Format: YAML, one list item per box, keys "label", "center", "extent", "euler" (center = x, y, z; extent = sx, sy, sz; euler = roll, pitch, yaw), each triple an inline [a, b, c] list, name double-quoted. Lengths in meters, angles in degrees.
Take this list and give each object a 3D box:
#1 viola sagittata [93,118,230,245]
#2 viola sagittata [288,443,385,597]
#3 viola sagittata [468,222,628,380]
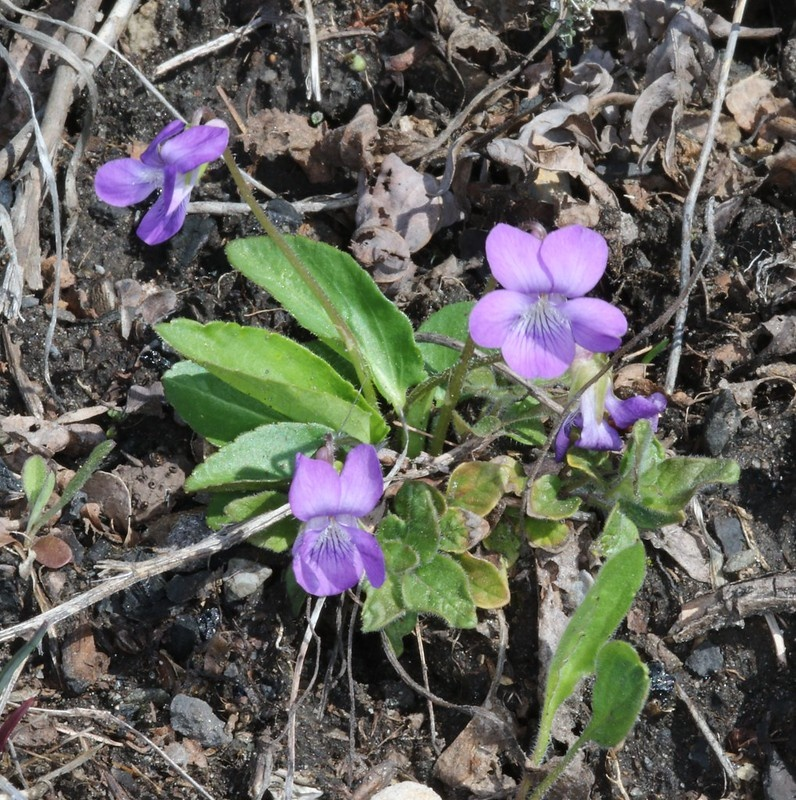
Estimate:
- label: "viola sagittata"
  center: [-0.614, -0.600, 2.665]
  extent: [0.349, 0.155, 0.365]
  euler: [16, 68, 50]
- label: "viola sagittata"
  center: [-0.138, 0.299, 2.663]
  extent: [0.265, 0.387, 0.157]
  euler: [-3, 1, 25]
- label: "viola sagittata"
  center: [0.386, -0.268, 2.649]
  extent: [0.507, 0.491, 0.145]
  euler: [6, 42, 0]
